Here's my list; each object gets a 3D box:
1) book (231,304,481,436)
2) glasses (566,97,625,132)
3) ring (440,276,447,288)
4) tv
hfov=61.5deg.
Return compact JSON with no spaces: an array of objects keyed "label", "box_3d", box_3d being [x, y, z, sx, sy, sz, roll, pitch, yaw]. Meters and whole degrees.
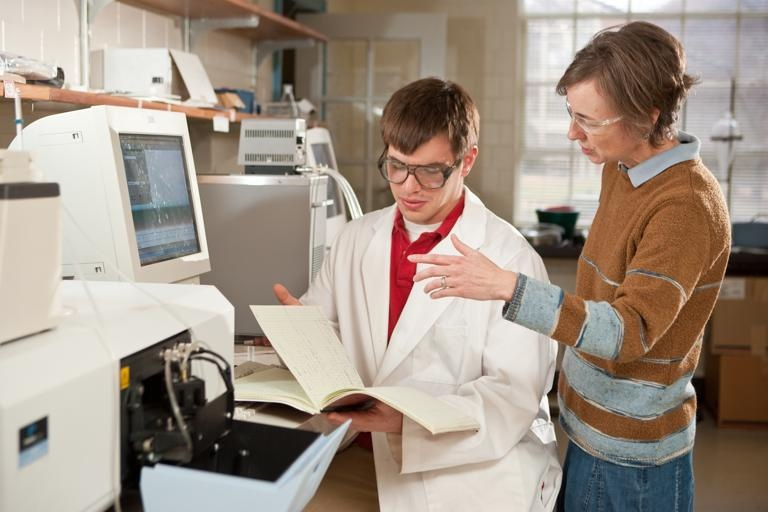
[{"label":"book","box_3d":[-0.079,0.250,1.459,0.434,0.171,0.328,5,-1,16]},{"label":"glasses","box_3d":[0.494,-0.329,1.539,0.095,0.028,0.092,-6,27,-22]},{"label":"ring","box_3d":[0.120,0.055,1.328,0.009,0.021,0.015,-2,2,-40]},{"label":"tv","box_3d":[-0.648,-0.158,1.862,0.481,0.581,0.612,-1,1,11]}]
